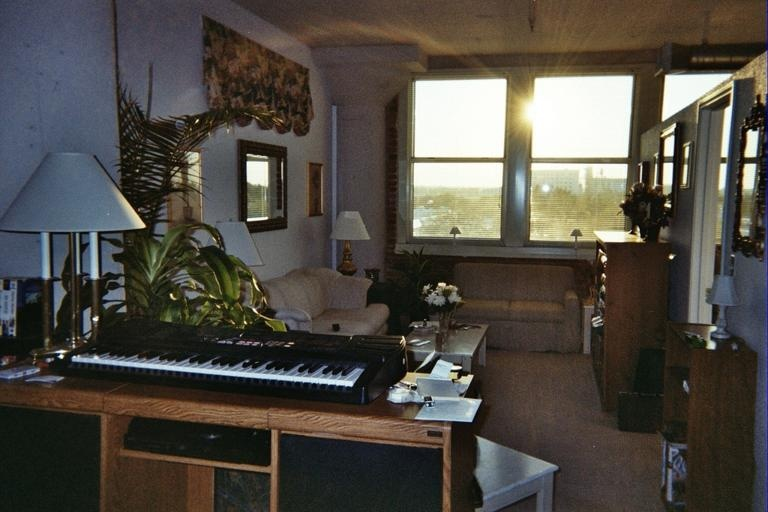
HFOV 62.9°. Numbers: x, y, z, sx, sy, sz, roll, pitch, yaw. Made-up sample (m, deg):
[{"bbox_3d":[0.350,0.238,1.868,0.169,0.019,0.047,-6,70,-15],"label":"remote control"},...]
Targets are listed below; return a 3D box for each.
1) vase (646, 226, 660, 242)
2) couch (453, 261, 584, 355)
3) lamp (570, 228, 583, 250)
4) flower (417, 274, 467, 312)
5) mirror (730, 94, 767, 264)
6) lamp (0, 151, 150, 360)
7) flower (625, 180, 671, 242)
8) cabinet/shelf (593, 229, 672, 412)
[{"bbox_3d":[2.502,-0.197,5.839,0.138,0.146,0.137,1,5,35],"label":"vase"},{"bbox_3d":[1.600,0.632,7.928,1.626,0.922,0.840,1,11,14],"label":"couch"},{"bbox_3d":[2.557,-0.222,8.358,0.163,0.285,0.255,1,5,18],"label":"lamp"},{"bbox_3d":[0.615,0.390,6.511,0.380,0.254,0.383,-1,5,10],"label":"flower"},{"bbox_3d":[2.321,-0.496,3.983,0.096,1.015,0.449,0,5,15],"label":"mirror"},{"bbox_3d":[-1.689,-0.023,3.458,0.710,1.089,0.337,-3,6,-21],"label":"lamp"},{"bbox_3d":[2.466,-0.403,5.876,0.544,0.511,0.495,3,-4,13],"label":"flower"},{"bbox_3d":[2.249,0.614,5.639,0.523,1.514,1.711,2,2,20],"label":"cabinet/shelf"}]
